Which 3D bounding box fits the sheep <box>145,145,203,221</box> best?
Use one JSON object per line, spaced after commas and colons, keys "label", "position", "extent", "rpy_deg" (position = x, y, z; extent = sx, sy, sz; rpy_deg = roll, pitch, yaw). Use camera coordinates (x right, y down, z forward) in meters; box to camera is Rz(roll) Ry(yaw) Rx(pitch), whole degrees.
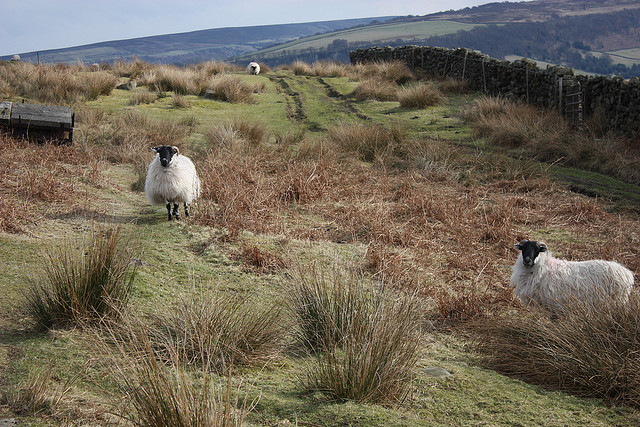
{"label": "sheep", "position": [-2.511, -0.546, 10.677], "extent": [0.901, 1.221, 0.600], "rpy_deg": [-4, 19, -16]}

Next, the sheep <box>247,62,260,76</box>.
{"label": "sheep", "position": [-3.720, -8.059, 35.200], "extent": [0.470, 0.498, 0.949], "rpy_deg": [-2, 8, -5]}
